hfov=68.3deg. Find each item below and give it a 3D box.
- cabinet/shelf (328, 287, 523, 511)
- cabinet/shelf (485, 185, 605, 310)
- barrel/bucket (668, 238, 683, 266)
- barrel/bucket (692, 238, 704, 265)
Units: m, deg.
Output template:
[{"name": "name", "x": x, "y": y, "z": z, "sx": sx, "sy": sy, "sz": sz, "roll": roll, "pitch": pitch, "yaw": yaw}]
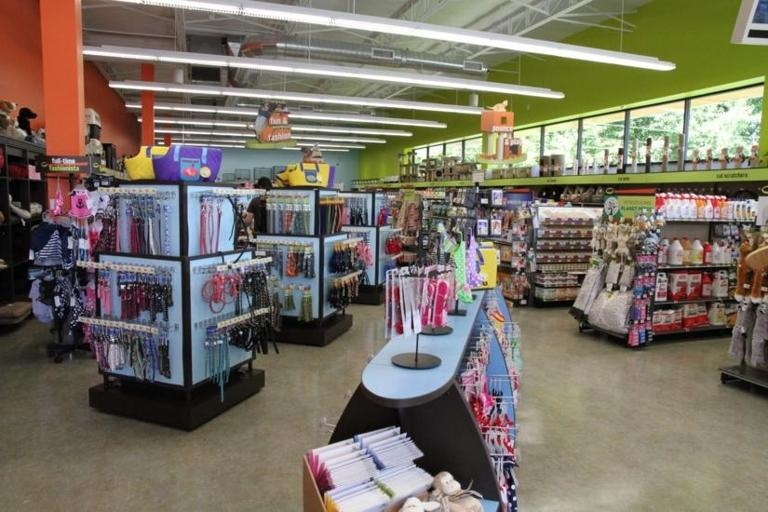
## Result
[{"name": "cabinet/shelf", "x": 0.613, "y": 0.652, "z": 5.687, "sx": 1.632, "sy": 1.079, "sz": 3.462, "roll": 8, "pitch": 8, "yaw": 22}, {"name": "cabinet/shelf", "x": 3.557, "y": -0.123, "z": 12.355, "sx": 2.159, "sy": 2.162, "sz": 1.340, "roll": 4, "pitch": 3, "yaw": -35}, {"name": "barrel/bucket", "x": 4.908, "y": -0.071, "z": 9.520, "sx": 0.258, "sy": 0.401, "sz": 0.218, "roll": 3, "pitch": 11, "yaw": 15}, {"name": "barrel/bucket", "x": 5.332, "y": -0.073, "z": 9.621, "sx": 0.224, "sy": 0.406, "sz": 0.213, "roll": 0, "pitch": 10, "yaw": 0}]
